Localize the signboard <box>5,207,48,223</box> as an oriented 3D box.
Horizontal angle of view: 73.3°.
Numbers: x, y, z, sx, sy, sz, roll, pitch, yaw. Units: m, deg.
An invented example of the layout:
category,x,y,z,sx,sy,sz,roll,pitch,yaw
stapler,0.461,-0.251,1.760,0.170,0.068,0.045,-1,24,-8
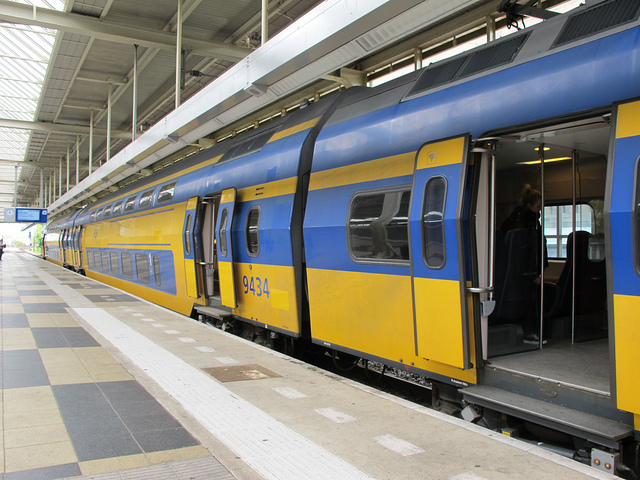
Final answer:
category,x,y,z,sx,sy,sz,roll,pitch,yaw
signboard,-26.181,-2.241,38.246,3.001,1.247,3.389,0,1,-34
